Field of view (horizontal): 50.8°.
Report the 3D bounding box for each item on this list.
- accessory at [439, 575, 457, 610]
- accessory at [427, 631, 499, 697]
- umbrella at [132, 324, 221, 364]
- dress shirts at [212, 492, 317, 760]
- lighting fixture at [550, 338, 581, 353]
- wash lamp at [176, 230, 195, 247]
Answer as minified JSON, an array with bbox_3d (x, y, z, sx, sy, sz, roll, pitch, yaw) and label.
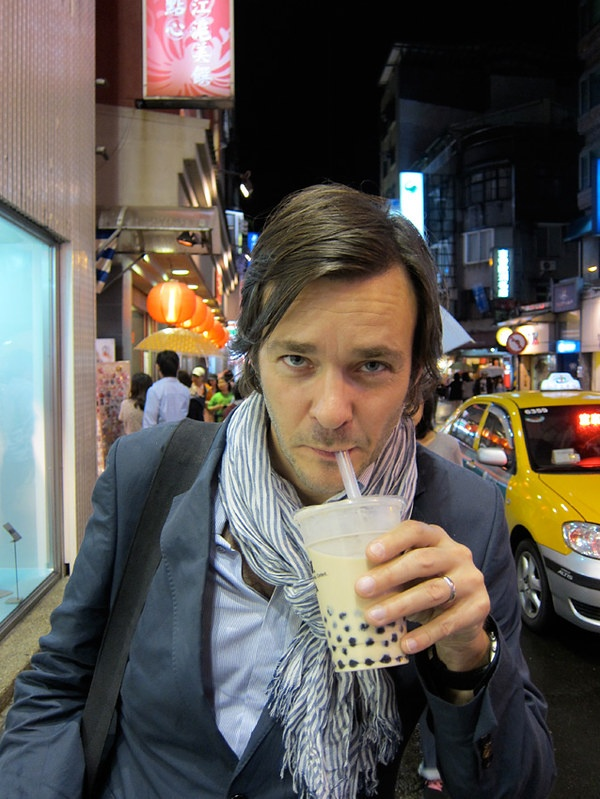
[{"bbox_3d":[0.281,0.359,1.182,0.044,0.044,0.044,-3,20,-2],"label":"accessory"},{"bbox_3d":[0.322,0.574,1.313,0.126,0.094,0.064,2,37,8],"label":"accessory"},{"bbox_3d":[-2.090,-0.999,11.095,1.038,0.327,1.014,9,-8,-36],"label":"umbrella"},{"bbox_3d":[-0.104,0.555,1.444,0.216,0.372,0.088,5,-15,-34],"label":"dress shirts"},{"bbox_3d":[9.392,-1.876,22.045,0.549,0.341,0.527,0,-3,-3],"label":"lighting fixture"},{"bbox_3d":[-1.637,-2.333,9.083,0.245,0.183,0.175,14,-32,-27],"label":"wash lamp"}]
